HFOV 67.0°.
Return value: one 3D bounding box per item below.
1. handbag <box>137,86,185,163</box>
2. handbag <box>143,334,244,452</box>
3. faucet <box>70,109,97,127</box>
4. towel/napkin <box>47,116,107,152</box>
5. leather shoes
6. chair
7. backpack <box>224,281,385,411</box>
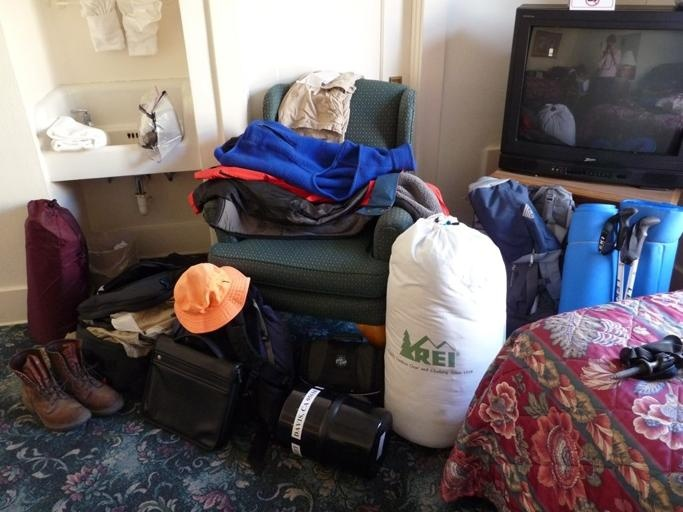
[{"bbox_3d":[-0.942,-0.670,2.664,0.228,0.306,0.130,-14,30,-21],"label":"handbag"},{"bbox_3d":[-0.582,0.558,2.066,0.336,0.322,0.126,19,14,21],"label":"handbag"},{"bbox_3d":[-1.409,-0.745,2.794,0.098,0.068,0.112,6,10,31],"label":"faucet"},{"bbox_3d":[-1.340,-0.605,2.579,0.223,0.088,0.181,8,61,-28],"label":"towel/napkin"},{"bbox_3d":[-1.154,0.530,2.150,0.426,0.221,0.277,25,43,24],"label":"leather shoes"},{"bbox_3d":[-0.091,-0.263,2.694,0.909,1.248,1.145,10,24,20],"label":"chair"},{"bbox_3d":[-0.105,0.383,2.356,0.660,0.370,0.639,5,13,16],"label":"backpack"}]
